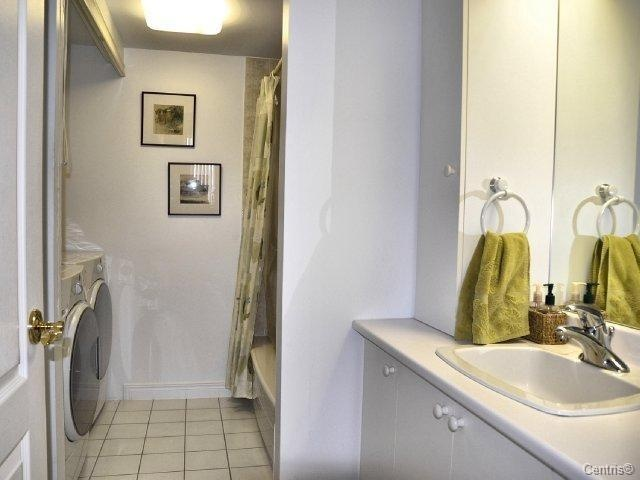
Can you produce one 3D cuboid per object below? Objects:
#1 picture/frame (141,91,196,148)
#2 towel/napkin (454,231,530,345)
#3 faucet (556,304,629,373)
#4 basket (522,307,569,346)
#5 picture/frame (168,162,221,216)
[{"bbox_3d":[-1.118,-0.883,3.540,0.381,0.424,0.014,0,4,-13],"label":"picture/frame"},{"bbox_3d":[0.674,0.190,1.906,0.301,0.430,0.182,-5,10,-19],"label":"towel/napkin"},{"bbox_3d":[0.918,0.322,1.639,0.244,0.209,0.116,3,10,0],"label":"faucet"},{"bbox_3d":[0.872,0.334,1.929,0.091,0.129,0.172,-3,2,-4],"label":"basket"},{"bbox_3d":[-0.944,-0.385,3.594,0.361,0.401,0.017,0,7,-16],"label":"picture/frame"}]
